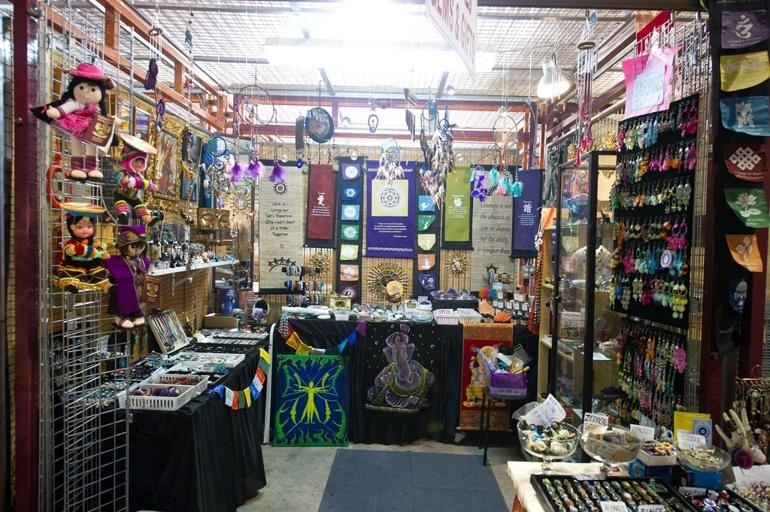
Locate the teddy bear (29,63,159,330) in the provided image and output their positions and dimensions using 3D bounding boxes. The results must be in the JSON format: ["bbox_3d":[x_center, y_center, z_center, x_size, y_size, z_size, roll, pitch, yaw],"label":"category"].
[{"bbox_3d":[-1.989,-0.426,4.056,0.740,1.775,0.832,-3,10,-23],"label":"teddy bear"}]

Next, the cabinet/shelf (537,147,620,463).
[{"bbox_3d":[1.937,0.304,5.577,0.317,2.642,1.092,0,9,-8],"label":"cabinet/shelf"}]

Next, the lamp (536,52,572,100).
[{"bbox_3d":[1.589,-1.709,5.352,0.265,0.381,0.467,4,10,13],"label":"lamp"}]
